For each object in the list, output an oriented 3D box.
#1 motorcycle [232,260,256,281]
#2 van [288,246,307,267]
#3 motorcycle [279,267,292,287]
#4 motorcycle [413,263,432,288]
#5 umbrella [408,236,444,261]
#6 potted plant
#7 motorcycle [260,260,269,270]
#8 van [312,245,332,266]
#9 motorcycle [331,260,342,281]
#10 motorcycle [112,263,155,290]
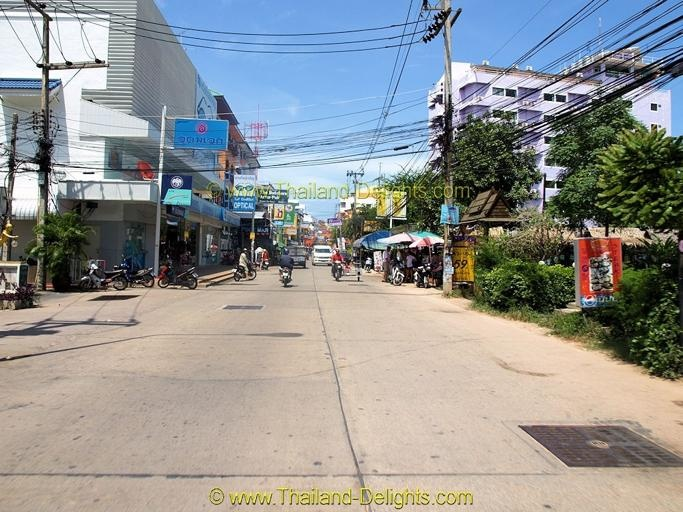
[{"bbox_3d":[-5.008,0.872,30.243,0.656,0.775,1.209,1,6,31],"label":"motorcycle"},{"bbox_3d":[-3.756,0.123,49.775,1.395,1.407,2.378,1,6,2],"label":"van"},{"bbox_3d":[-2.429,0.917,25.667,0.452,0.915,0.880,0,8,-9],"label":"motorcycle"},{"bbox_3d":[3.912,0.909,27.705,0.612,1.203,1.529,0,9,-7],"label":"motorcycle"},{"bbox_3d":[4.271,-0.615,29.278,1.388,1.199,5.025,2,9,7],"label":"umbrella"},{"bbox_3d":[-10.852,-0.097,22.609,2.463,2.794,2.171,-4,1,-8],"label":"potted plant"},{"bbox_3d":[-5.578,0.694,43.700,0.552,0.537,0.950,-1,0,-2],"label":"motorcycle"},{"bbox_3d":[-1.967,-0.077,57.320,1.399,1.334,2.736,0,-4,-6],"label":"van"},{"bbox_3d":[-0.210,0.812,30.810,0.487,1.067,0.785,1,8,2],"label":"motorcycle"},{"bbox_3d":[-8.425,0.939,23.729,1.511,0.880,0.974,2,34,-50],"label":"motorcycle"}]
